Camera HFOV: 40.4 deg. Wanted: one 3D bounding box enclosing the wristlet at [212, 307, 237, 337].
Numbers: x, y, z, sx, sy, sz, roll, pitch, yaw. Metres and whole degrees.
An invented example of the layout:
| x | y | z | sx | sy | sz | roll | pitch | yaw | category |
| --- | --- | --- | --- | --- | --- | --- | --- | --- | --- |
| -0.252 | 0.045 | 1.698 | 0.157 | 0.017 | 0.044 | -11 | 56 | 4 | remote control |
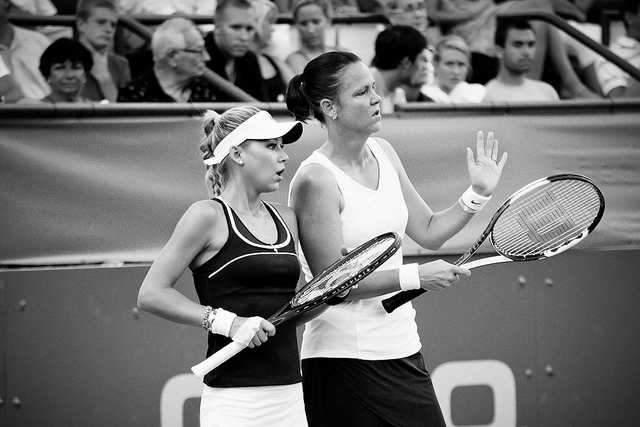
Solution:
| x | y | z | sx | sy | sz | roll | pitch | yaw | category |
| --- | --- | --- | --- | --- | --- | --- | --- | --- | --- |
| -0.528 | 0.588 | 4.768 | 0.075 | 0.117 | 0.132 | 13 | 27 | 19 | wristlet |

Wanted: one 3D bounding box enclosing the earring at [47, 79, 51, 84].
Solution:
| x | y | z | sx | sy | sz | roll | pitch | yaw | category |
| --- | --- | --- | --- | --- | --- | --- | --- | --- | --- |
| -2.073 | -1.004 | 6.639 | 0.025 | 0.028 | 0.009 | -2 | -7 | 29 | earring |

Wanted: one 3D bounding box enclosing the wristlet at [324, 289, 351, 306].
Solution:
| x | y | z | sx | sy | sz | roll | pitch | yaw | category |
| --- | --- | --- | --- | --- | --- | --- | --- | --- | --- |
| 0.106 | 0.486 | 4.964 | 0.115 | 0.031 | 0.087 | -20 | -10 | -32 | wristlet |

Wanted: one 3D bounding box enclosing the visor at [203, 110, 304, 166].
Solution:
| x | y | z | sx | sy | sz | roll | pitch | yaw | category |
| --- | --- | --- | --- | --- | --- | --- | --- | --- | --- |
| -0.287 | -0.433 | 5.100 | 0.324 | 0.202 | 0.535 | -25 | 8 | 1 | visor |

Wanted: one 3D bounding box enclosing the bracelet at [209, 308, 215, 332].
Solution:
| x | y | z | sx | sy | sz | roll | pitch | yaw | category |
| --- | --- | --- | --- | --- | --- | --- | --- | --- | --- |
| -0.598 | 0.570 | 4.742 | 0.018 | 0.078 | 0.055 | 8 | -16 | 3 | bracelet |

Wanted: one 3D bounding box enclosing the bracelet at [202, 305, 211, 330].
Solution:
| x | y | z | sx | sy | sz | roll | pitch | yaw | category |
| --- | --- | --- | --- | --- | --- | --- | --- | --- | --- |
| -0.624 | 0.565 | 4.762 | 0.021 | 0.083 | 0.099 | 12 | 53 | 3 | bracelet |

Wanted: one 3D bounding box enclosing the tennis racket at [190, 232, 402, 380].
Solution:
| x | y | z | sx | sy | sz | roll | pitch | yaw | category |
| --- | --- | --- | --- | --- | --- | --- | --- | --- | --- |
| -0.150 | 0.523 | 4.805 | 1.351 | 0.121 | 0.408 | -36 | 17 | -5 | tennis racket |

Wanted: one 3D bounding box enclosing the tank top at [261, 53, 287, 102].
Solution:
| x | y | z | sx | sy | sz | roll | pitch | yaw | category |
| --- | --- | --- | --- | --- | --- | --- | --- | --- | --- |
| -0.393 | -1.141 | 7.386 | 0.191 | 0.368 | 0.479 | -4 | 17 | -3 | tank top |

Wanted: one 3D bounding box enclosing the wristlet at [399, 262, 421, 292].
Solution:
| x | y | z | sx | sy | sz | roll | pitch | yaw | category |
| --- | --- | --- | --- | --- | --- | --- | --- | --- | --- |
| 0.493 | 0.368 | 5.077 | 0.146 | 0.145 | 0.202 | 9 | -10 | -10 | wristlet |

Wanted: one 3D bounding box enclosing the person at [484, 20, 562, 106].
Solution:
| x | y | z | sx | sy | sz | roll | pitch | yaw | category |
| --- | --- | --- | --- | --- | --- | --- | --- | --- | --- |
| 1.622 | -1.232 | 7.351 | 0.781 | 0.820 | 0.418 | -6 | 7 | -14 | person |

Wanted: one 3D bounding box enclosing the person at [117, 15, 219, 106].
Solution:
| x | y | z | sx | sy | sz | roll | pitch | yaw | category |
| --- | --- | --- | --- | --- | --- | --- | --- | --- | --- |
| -1.223 | -1.181 | 6.719 | 0.623 | 0.714 | 0.933 | 13 | 26 | 14 | person |

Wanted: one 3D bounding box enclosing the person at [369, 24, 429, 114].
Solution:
| x | y | z | sx | sy | sz | roll | pitch | yaw | category |
| --- | --- | --- | --- | --- | --- | --- | --- | --- | --- |
| 0.663 | -1.196 | 7.301 | 0.490 | 0.880 | 0.382 | 0 | 23 | -11 | person |

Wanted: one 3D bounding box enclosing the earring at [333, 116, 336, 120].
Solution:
| x | y | z | sx | sy | sz | roll | pitch | yaw | category |
| --- | --- | --- | --- | --- | --- | --- | --- | --- | --- |
| 0.082 | -0.566 | 5.157 | 0.014 | 0.016 | 0.004 | -2 | -2 | -4 | earring |
